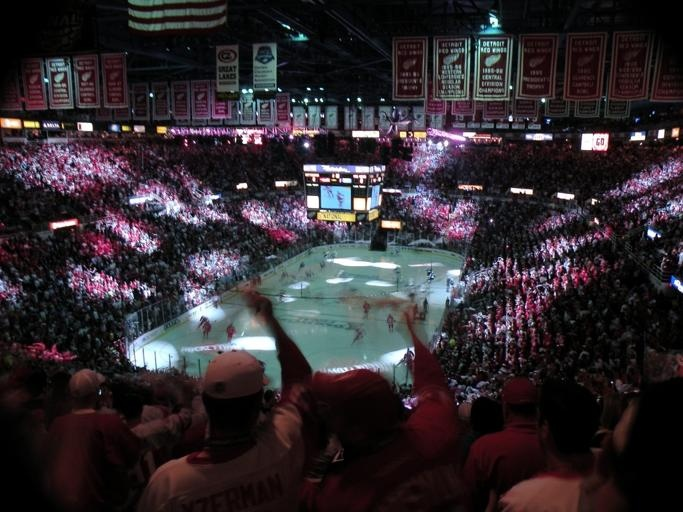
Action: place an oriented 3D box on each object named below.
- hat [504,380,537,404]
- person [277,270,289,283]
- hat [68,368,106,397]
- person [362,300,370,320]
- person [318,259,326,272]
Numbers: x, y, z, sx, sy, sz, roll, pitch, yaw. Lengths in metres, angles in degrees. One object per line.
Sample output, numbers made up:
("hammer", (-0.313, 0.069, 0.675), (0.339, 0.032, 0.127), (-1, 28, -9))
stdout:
("hat", (1.387, 1.062, 3.635), (0.255, 0.157, 0.344), (3, 6, 20))
("person", (-3.847, 1.338, 31.268), (0.550, 0.286, 0.770), (1, 14, 12))
("hat", (-2.096, 1.043, 3.866), (0.187, 0.155, 0.280), (4, 23, -1))
("person", (1.246, 2.829, 23.867), (0.563, 1.202, 0.423), (-2, 38, 3))
("person", (-1.444, 0.687, 34.868), (0.405, 0.515, 0.810), (1, 12, 3))
